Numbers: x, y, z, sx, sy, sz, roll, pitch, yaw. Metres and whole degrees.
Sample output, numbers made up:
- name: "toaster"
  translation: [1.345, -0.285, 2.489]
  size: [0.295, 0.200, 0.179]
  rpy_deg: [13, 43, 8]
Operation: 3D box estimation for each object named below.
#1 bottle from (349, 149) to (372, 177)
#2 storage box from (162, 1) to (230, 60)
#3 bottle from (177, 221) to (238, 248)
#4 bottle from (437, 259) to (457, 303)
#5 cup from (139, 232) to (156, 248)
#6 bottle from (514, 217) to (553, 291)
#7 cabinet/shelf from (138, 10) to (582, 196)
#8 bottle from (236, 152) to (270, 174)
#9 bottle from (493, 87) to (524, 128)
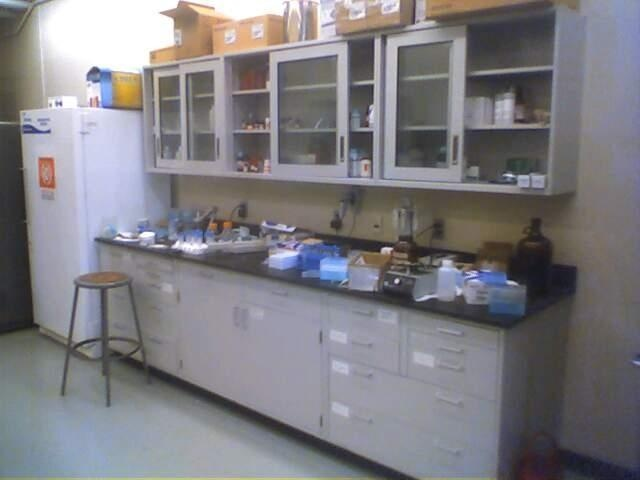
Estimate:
- name: "bottle"
  translation: [0.243, -0.459, 3.257]
  size: [0.130, 0.178, 0.185]
  rpy_deg: [-9, 16, -39]
- name: "storage box"
  translation: [-0.930, -1.477, 3.851]
  size: [0.377, 0.376, 0.472]
  rpy_deg: [12, 20, 31]
- name: "bottle"
  translation: [-0.851, -0.040, 3.863]
  size: [0.211, 0.111, 0.279]
  rpy_deg: [-6, 7, -40]
- name: "bottle"
  translation: [0.658, 0.201, 2.758]
  size: [0.108, 0.204, 0.183]
  rpy_deg: [3, 9, 14]
- name: "cup"
  translation: [-1.260, 0.005, 3.944]
  size: [0.108, 0.100, 0.103]
  rpy_deg: [3, -3, 0]
- name: "bottle"
  translation: [1.135, 0.084, 2.839]
  size: [0.188, 0.383, 0.180]
  rpy_deg: [1, 8, 0]
- name: "cabinet/shelf"
  translation: [0.144, -0.799, 3.346]
  size: [2.684, 0.906, 0.356]
  rpy_deg: [6, 10, 32]
- name: "bottle"
  translation: [-0.458, -0.541, 3.801]
  size: [0.198, 0.123, 0.194]
  rpy_deg: [3, 9, -1]
- name: "bottle"
  translation: [0.994, -0.688, 2.779]
  size: [0.167, 0.206, 0.126]
  rpy_deg: [1, 8, 4]
